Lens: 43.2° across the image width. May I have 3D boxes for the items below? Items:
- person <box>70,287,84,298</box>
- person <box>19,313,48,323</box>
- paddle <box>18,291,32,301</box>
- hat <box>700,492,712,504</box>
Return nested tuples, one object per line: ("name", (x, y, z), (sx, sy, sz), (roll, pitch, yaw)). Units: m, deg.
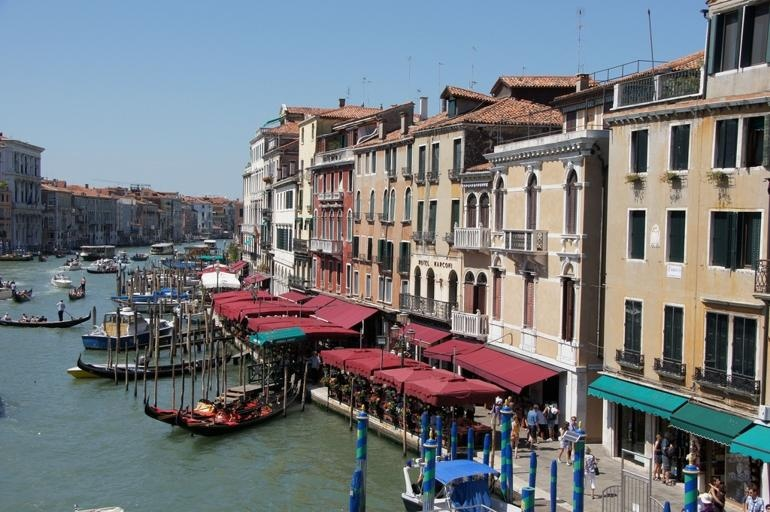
("person", (-38.956, 4.814, 122.600), (0.604, 0.792, 2.593), (0, -5, 11))
("person", (-35.832, 6.413, 98.666), (1.982, 0.636, 0.634), (3, -1, 25))
("paddle", (-44.402, 4.985, 119.565), (0.548, 0.698, 2.316), (24, 10, -10))
("hat", (14.373, 10.953, 43.654), (0.506, 0.368, 0.386), (0, 2, 11))
